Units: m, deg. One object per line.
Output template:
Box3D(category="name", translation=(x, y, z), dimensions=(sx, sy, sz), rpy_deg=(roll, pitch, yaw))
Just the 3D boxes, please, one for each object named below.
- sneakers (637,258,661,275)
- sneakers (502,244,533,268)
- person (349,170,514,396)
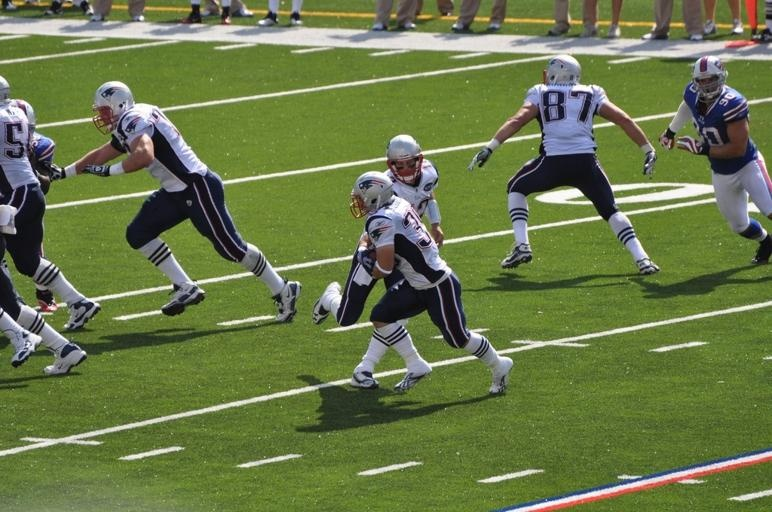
Box3D(category="sneakers", translation=(2.386, 0.089, 11.463), dimensions=(0.206, 0.178, 0.303), rpy_deg=(2, 12, 10))
Box3D(category="sneakers", translation=(1.219, 0.005, 11.673), dimensions=(0.273, 0.087, 0.129), rpy_deg=(-22, 34, 11))
Box3D(category="person", translation=(0.298, 0.215, 9.487), dimensions=(1.194, 1.648, 0.489), rpy_deg=(2, 13, 7))
